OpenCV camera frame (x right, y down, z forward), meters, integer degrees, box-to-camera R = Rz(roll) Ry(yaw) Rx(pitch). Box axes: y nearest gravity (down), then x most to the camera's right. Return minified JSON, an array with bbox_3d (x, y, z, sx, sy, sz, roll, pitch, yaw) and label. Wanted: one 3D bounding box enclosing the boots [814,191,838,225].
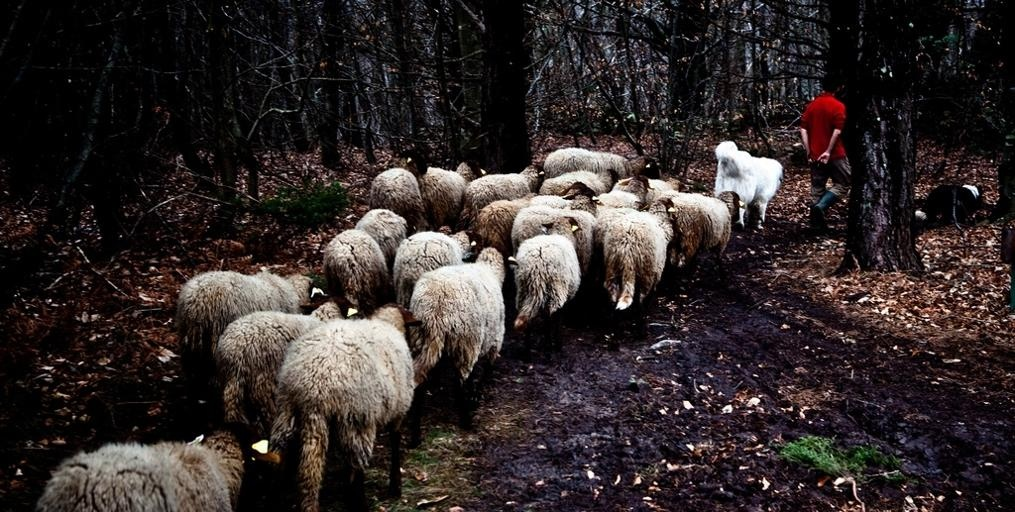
[{"bbox_3d":[8.400,-1.283,19.154,0.301,0.724,0.730,39,-4,28],"label":"boots"}]
